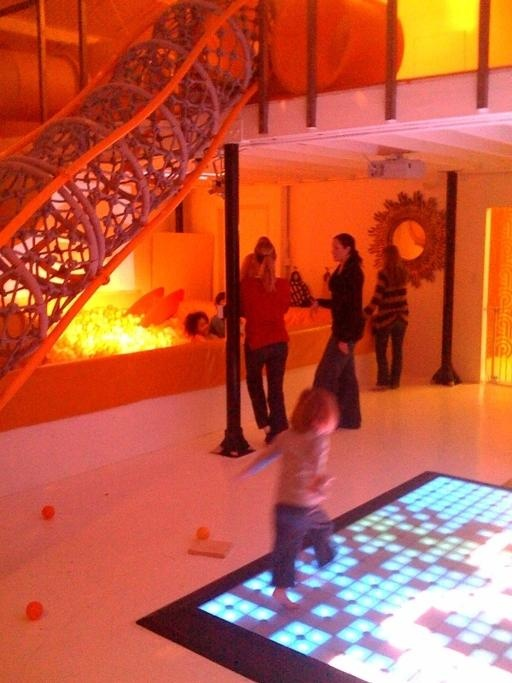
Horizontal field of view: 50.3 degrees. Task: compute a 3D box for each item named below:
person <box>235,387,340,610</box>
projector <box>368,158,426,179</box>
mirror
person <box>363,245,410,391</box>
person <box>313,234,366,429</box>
[{"bbox_3d":[0.150,0.652,2.250,0.401,0.910,0.175,-3,4,-24],"label":"person"},{"bbox_3d":[1.161,-1.397,4.490,0.387,0.157,0.217,7,13,36],"label":"projector"},{"bbox_3d":[2.092,-1.387,7.354,0.071,1.369,1.300,-11,14,-43],"label":"mirror"},{"bbox_3d":[1.667,-0.302,6.987,0.498,1.788,0.733,-1,3,15],"label":"person"},{"bbox_3d":[0.748,-0.048,4.994,0.454,1.819,0.588,-1,3,9],"label":"person"}]
